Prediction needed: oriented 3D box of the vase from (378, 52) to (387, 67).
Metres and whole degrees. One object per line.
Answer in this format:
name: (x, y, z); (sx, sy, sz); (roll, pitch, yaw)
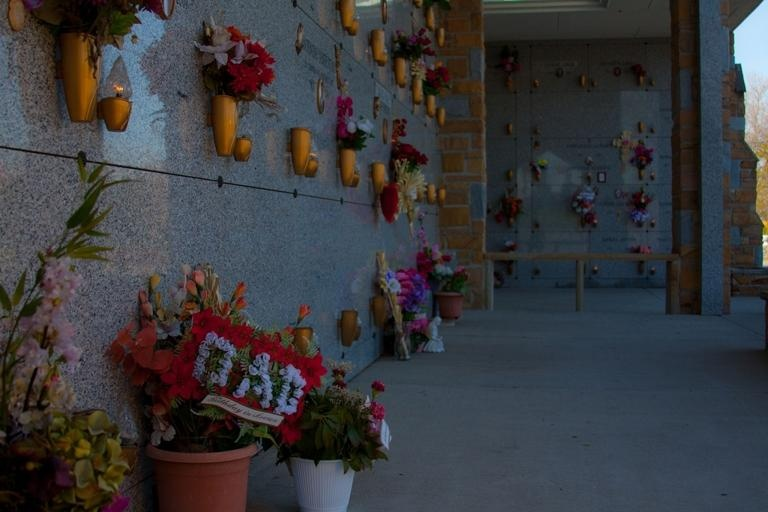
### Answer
vase: (-0.009, -1.333, 5.677); (0.072, 0.085, 0.071); (4, -6, -34)

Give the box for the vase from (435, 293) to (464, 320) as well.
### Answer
vase: (0.574, 0.440, 7.221); (0.211, 0.181, 0.225); (1, -9, -1)

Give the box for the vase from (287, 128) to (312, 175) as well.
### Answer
vase: (-0.427, -0.531, 4.254); (0.103, 0.232, 0.181); (2, 3, 12)

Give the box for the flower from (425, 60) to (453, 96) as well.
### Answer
flower: (0.442, -1.514, 7.146); (0.218, 0.245, 0.540); (2, 3, 2)

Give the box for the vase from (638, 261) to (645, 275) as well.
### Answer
vase: (3.469, 0.179, 11.208); (0.092, 0.176, 0.042); (2, 3, 12)

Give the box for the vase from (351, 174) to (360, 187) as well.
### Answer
vase: (-0.177, -0.447, 4.951); (0.052, 0.100, 0.052); (7, 18, -8)

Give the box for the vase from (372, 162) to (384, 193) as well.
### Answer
vase: (-0.039, -0.516, 5.548); (0.072, 0.196, 0.149); (3, 3, 22)

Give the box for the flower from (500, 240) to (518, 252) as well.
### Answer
flower: (1.726, -0.116, 11.367); (0.143, 0.161, 0.071); (8, -6, 14)

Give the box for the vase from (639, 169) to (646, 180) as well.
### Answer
vase: (3.453, -1.084, 11.137); (0.081, 0.132, 0.056); (2, 3, 12)

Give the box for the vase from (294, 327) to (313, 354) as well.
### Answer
vase: (-0.385, 0.416, 3.976); (0.094, 0.175, 0.104); (-1, -4, 11)

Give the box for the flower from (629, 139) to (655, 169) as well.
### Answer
flower: (3.452, -1.350, 11.166); (0.327, 0.369, 0.169); (2, 0, -2)

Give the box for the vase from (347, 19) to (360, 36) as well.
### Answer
vase: (-0.186, -1.373, 5.031); (0.091, 0.107, 0.085); (-8, 31, -5)

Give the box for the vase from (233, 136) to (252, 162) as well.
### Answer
vase: (-0.635, -0.483, 3.773); (0.092, 0.116, 0.096); (1, -4, -12)

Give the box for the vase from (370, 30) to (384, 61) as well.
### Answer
vase: (-0.042, -1.412, 5.603); (0.072, 0.206, 0.154); (3, 3, 17)

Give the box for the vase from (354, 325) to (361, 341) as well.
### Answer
vase: (-0.152, 0.466, 4.940); (0.070, 0.086, 0.074); (0, 4, 5)

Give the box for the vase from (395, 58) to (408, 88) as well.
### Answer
vase: (0.120, -1.386, 6.256); (0.067, 0.192, 0.208); (2, 3, 10)

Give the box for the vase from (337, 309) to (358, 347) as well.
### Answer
vase: (-0.210, 0.433, 4.888); (0.113, 0.217, 0.148); (2, 3, 5)

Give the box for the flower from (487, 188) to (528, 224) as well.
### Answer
flower: (1.669, -0.632, 11.333); (0.355, 0.493, 0.247); (13, -3, 29)

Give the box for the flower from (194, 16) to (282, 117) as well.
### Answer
flower: (-0.640, -0.845, 3.554); (0.291, 0.355, 0.205); (3, 3, 23)

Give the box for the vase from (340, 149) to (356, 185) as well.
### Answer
vase: (-0.221, -0.519, 4.902); (0.092, 0.210, 0.125); (2, 3, 0)

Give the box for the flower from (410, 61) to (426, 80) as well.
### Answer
flower: (0.271, -1.508, 6.769); (0.143, 0.159, 0.130); (7, 4, -7)

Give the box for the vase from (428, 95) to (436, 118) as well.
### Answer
vase: (0.419, -1.341, 7.448); (0.069, 0.155, 0.291); (2, 3, 9)

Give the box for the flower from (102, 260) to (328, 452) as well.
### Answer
flower: (-0.713, 0.400, 3.343); (0.694, 0.747, 0.665); (-1, -8, 34)

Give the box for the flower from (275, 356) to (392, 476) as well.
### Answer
flower: (-0.192, 0.633, 3.533); (0.410, 0.463, 0.390); (10, 2, 6)
